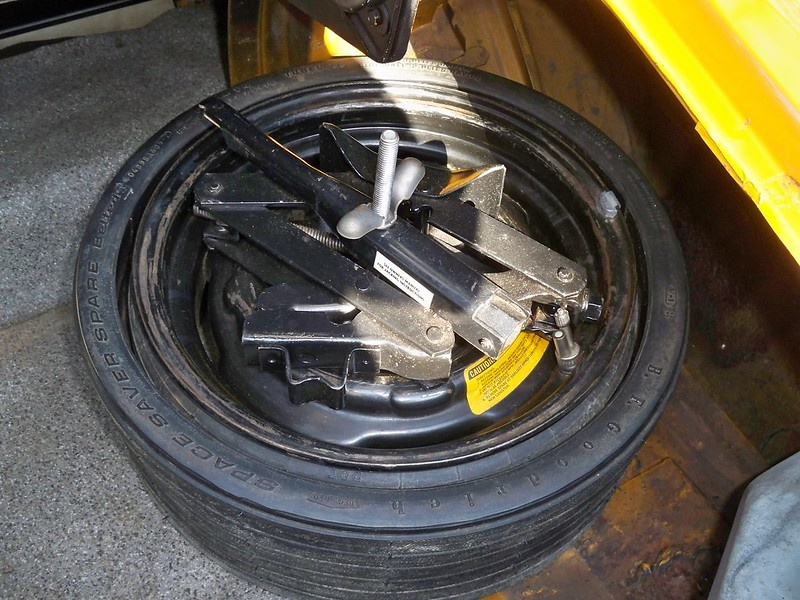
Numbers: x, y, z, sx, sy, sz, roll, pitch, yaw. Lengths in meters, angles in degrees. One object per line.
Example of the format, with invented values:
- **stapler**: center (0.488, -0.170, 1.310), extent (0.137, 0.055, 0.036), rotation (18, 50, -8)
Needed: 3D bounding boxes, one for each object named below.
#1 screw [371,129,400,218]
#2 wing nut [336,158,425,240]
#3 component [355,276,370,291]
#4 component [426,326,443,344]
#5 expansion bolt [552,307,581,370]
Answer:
- **screw**: center (-0.030, -0.245, 1.523), extent (0.033, 0.186, 0.038), rotation (6, 40, -4)
- **wing nut**: center (-0.021, -0.205, 1.592), extent (0.075, 0.258, 0.083), rotation (14, 51, -33)
- **component**: center (-0.078, -0.035, 1.611), extent (0.025, 0.007, 0.029), rotation (0, 61, -7)
- **component**: center (0.072, 0.067, 1.564), extent (0.027, 0.007, 0.033), rotation (-5, 65, -5)
- **expansion bolt**: center (0.336, 0.106, 1.631), extent (0.053, 0.056, 0.154), rotation (-6, 100, 0)
